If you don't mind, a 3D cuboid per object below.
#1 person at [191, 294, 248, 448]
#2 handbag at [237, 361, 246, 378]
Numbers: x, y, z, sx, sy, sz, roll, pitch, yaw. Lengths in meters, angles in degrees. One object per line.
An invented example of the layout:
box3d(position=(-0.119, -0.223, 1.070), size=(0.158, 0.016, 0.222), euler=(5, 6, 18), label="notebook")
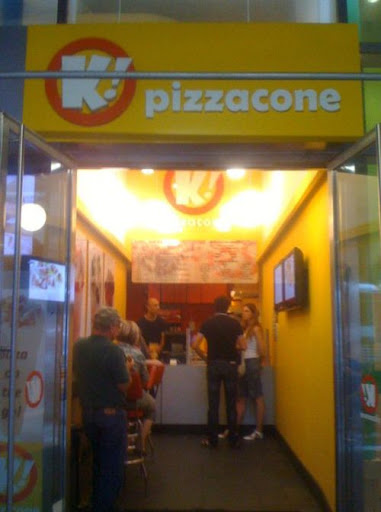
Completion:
box3d(position=(0.291, 1.111, 4.839), size=(0.488, 1.411, 0.640), euler=(0, -6, 0), label="person")
box3d(position=(0.535, 1.164, 5.014), size=(0.092, 0.157, 0.128), euler=(7, 20, -2), label="handbag")
